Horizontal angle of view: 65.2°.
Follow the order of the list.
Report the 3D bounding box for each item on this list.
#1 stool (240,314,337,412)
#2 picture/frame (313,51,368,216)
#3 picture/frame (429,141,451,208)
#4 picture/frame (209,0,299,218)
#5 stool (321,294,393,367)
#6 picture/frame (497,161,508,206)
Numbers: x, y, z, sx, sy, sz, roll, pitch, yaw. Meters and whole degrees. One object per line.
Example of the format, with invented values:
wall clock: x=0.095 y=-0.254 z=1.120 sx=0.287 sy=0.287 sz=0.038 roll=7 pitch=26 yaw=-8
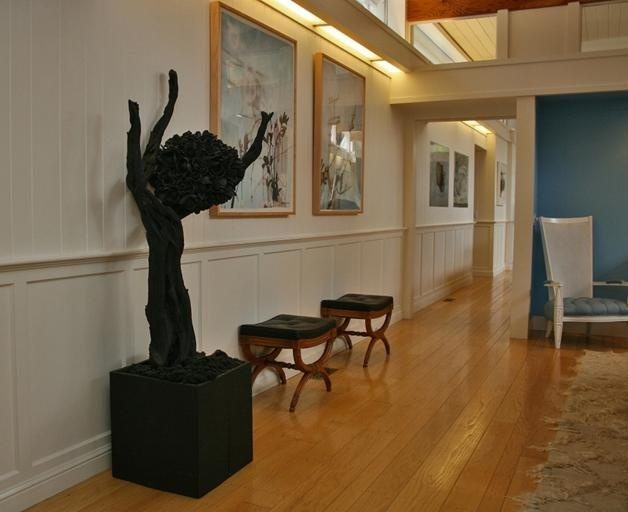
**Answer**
stool: x=-0.169 y=0.762 z=3.925 sx=0.638 sy=0.741 sz=0.579 roll=1 pitch=3 yaw=35
picture/frame: x=0.275 y=-1.179 z=5.027 sx=0.094 sy=1.502 sz=1.051 roll=3 pitch=6 yaw=29
picture/frame: x=2.139 y=-1.323 z=8.192 sx=0.016 sy=1.026 sz=0.905 roll=2 pitch=8 yaw=35
picture/frame: x=-0.441 y=-1.050 z=3.837 sx=0.109 sy=1.479 sz=1.069 roll=3 pitch=5 yaw=28
stool: x=0.469 y=0.653 z=5.003 sx=0.609 sy=0.759 sz=0.647 roll=1 pitch=4 yaw=28
picture/frame: x=4.468 y=-1.766 z=11.595 sx=0.102 sy=1.241 sz=0.953 roll=2 pitch=7 yaw=31
